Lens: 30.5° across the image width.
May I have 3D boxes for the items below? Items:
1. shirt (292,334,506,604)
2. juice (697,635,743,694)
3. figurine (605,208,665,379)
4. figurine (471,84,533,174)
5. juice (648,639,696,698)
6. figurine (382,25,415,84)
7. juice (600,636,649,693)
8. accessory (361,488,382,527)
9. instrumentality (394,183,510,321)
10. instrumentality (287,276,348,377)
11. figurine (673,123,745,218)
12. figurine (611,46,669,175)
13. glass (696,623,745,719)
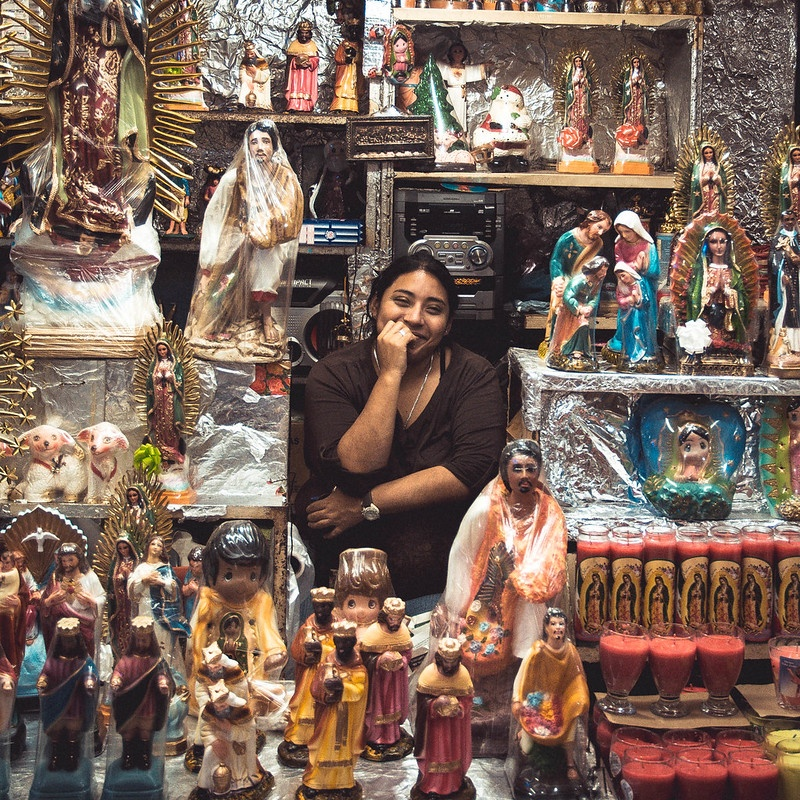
[{"bbox_3d":[0.018,0.168,3.874,0.510,0.630,0.387,-2,20,7],"label":"shirt"},{"bbox_3d":[0.678,0.557,3.107,0.107,0.128,0.115,0,0,2],"label":"juice"},{"bbox_3d":[0.572,-0.258,3.504,0.114,0.373,0.082,2,8,9],"label":"figurine"},{"bbox_3d":[0.326,-0.864,4.682,0.184,0.273,0.102,2,8,4],"label":"figurine"},{"bbox_3d":[0.559,0.563,3.105,0.109,0.128,0.115,0,2,1],"label":"juice"},{"bbox_3d":[-0.002,-1.082,4.606,0.105,0.185,0.162,1,8,-1],"label":"figurine"},{"bbox_3d":[0.459,0.546,3.067,0.108,0.127,0.114,1,-2,1],"label":"juice"},{"bbox_3d":[-0.075,0.273,3.661,0.048,0.069,0.075,-3,43,3],"label":"accessory"},{"bbox_3d":[0.142,-0.430,4.790,0.509,0.589,0.350,0,0,-4],"label":"instrumentality"},{"bbox_3d":[-0.280,-0.236,4.668,0.234,0.304,0.111,0,6,3],"label":"instrumentality"},{"bbox_3d":[0.737,-0.533,3.529,0.145,0.244,0.114,2,8,10],"label":"figurine"},{"bbox_3d":[0.776,-0.914,4.714,0.179,0.380,0.453,2,8,9],"label":"figurine"},{"bbox_3d":[0.685,0.578,3.142,0.114,0.130,0.110,1,-4,8],"label":"glass"}]
